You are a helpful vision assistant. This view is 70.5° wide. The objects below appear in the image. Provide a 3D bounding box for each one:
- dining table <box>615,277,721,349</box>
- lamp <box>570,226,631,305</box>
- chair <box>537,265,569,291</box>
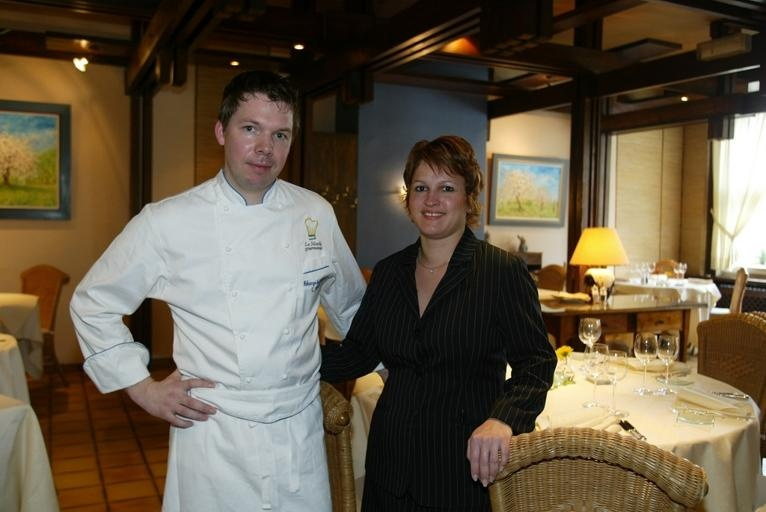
[{"bbox_3d":[4.087,0.658,7.631,1.131,0.633,1.108,0,0,-28],"label":"dining table"},{"bbox_3d":[2.221,0.074,5.594,0.480,0.737,0.478,8,10,44],"label":"lamp"},{"bbox_3d":[2.293,0.289,7.460,0.324,0.572,0.365,0,2,44],"label":"chair"}]
